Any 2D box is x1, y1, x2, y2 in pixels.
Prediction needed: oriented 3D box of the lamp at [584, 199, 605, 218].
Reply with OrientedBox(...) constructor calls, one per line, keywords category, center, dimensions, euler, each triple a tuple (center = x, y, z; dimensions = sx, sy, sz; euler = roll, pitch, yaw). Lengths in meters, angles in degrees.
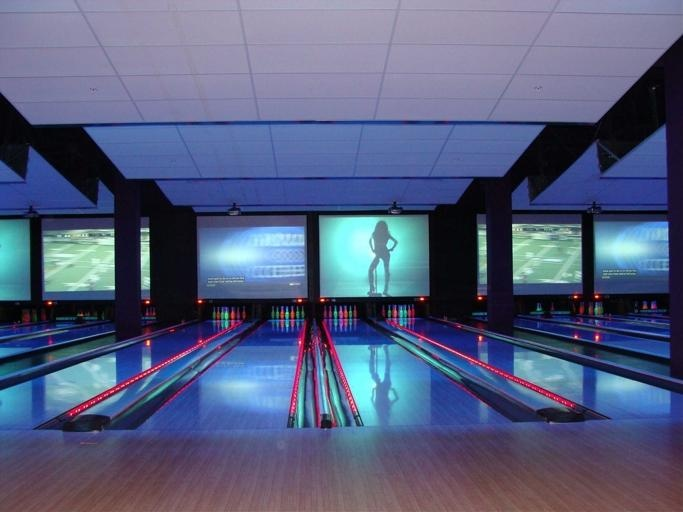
OrientedBox(category="lamp", center=(4.718, -0.866, 9.331), dimensions=(0.247, 0.347, 0.824), euler=(-2, -2, 20))
